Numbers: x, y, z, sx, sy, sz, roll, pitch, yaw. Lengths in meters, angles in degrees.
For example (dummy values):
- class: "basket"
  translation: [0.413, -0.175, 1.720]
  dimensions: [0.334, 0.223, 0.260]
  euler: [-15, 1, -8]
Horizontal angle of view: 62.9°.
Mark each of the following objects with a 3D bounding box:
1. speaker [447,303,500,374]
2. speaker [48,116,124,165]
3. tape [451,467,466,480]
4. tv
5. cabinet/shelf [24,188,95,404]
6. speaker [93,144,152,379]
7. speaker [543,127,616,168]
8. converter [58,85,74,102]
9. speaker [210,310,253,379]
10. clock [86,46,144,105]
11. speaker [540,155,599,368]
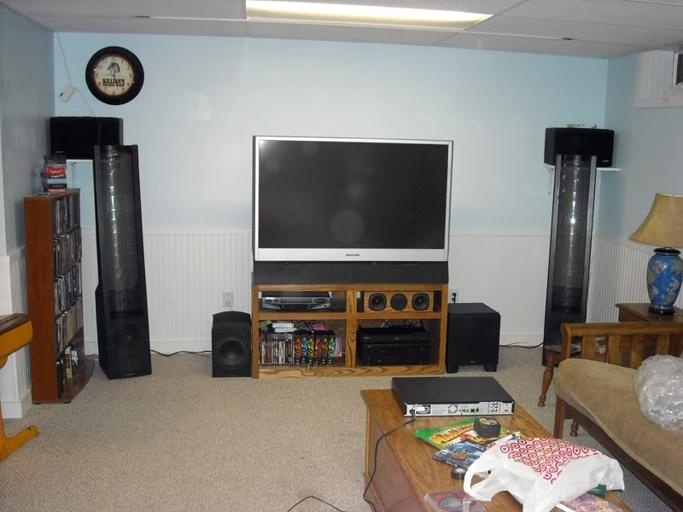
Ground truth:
- class: "speaker"
  translation: [1.096, 0.693, 4.975]
  dimensions: [0.495, 0.550, 0.506]
  euler: [-1, 10, 0]
- class: "speaker"
  translation: [-2.080, -0.923, 4.650]
  dimensions: [0.543, 0.381, 0.301]
  euler: [-3, -8, -12]
- class: "tape"
  translation: [0.515, 0.963, 2.476]
  dimensions: [0.042, 0.023, 0.043]
  euler: [2, 5, 13]
- class: "tv"
  translation: [0.047, -0.375, 4.483]
  dimensions: [1.136, 0.854, 0.125]
  euler: [1, 3, -4]
- class: "cabinet/shelf"
  translation: [-2.115, 0.275, 4.243]
  dimensions: [0.283, 1.555, 0.618]
  euler: [1, 7, 5]
- class: "speaker"
  translation: [-1.767, 0.023, 4.439]
  dimensions: [0.365, 1.863, 0.368]
  euler: [-7, 0, -27]
- class: "speaker"
  translation: [2.101, -0.993, 4.930]
  dimensions: [0.633, 0.437, 0.346]
  euler: [1, 6, 0]
- class: "converter"
  translation: [-2.287, -1.356, 4.628]
  dimensions: [0.059, 0.107, 0.104]
  euler: [17, 43, 21]
- class: "speaker"
  translation: [-0.913, 0.735, 4.631]
  dimensions: [0.322, 0.490, 0.306]
  euler: [-2, 7, -14]
- class: "clock"
  translation: [-1.890, -1.510, 4.664]
  dimensions: [0.434, 0.465, 0.093]
  euler: [-6, 13, -9]
- class: "speaker"
  translation: [2.115, 0.112, 5.041]
  dimensions: [0.311, 1.938, 0.319]
  euler: [-16, 19, -39]
